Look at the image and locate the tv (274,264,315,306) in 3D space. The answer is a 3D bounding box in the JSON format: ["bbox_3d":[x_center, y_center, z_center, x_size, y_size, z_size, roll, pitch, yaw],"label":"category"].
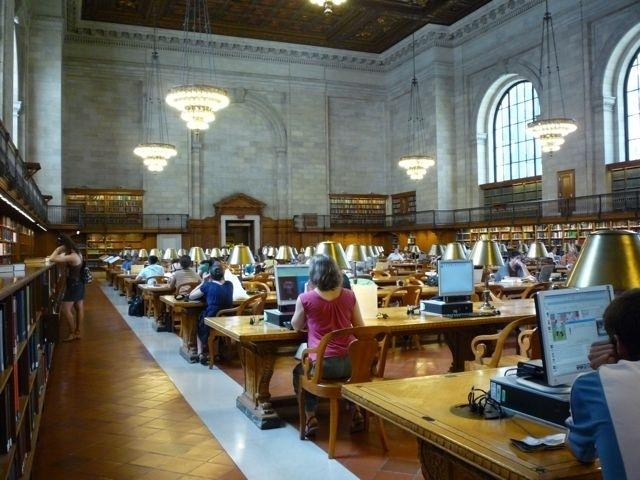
[{"bbox_3d":[-0.212,0.381,4.278,0.356,0.282,0.050,2,-9,-38],"label":"tv"}]

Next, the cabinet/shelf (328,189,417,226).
[{"bbox_3d":[2.481,-1.441,24.253,3.886,1.535,1.774,-1,0,7],"label":"cabinet/shelf"}]

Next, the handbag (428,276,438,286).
[{"bbox_3d":[1.630,0.588,7.347,0.145,0.085,0.187,0,-1,30],"label":"handbag"}]

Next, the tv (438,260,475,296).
[{"bbox_3d":[1.213,0.346,4.574,0.303,0.288,0.034,0,0,-22],"label":"tv"}]

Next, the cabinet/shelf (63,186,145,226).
[{"bbox_3d":[-8.623,-1.319,20.713,2.805,1.326,0.469,-1,1,-18],"label":"cabinet/shelf"}]

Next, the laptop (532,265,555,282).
[{"bbox_3d":[3.685,0.561,8.411,0.323,0.239,0.242,1,7,-27],"label":"laptop"}]

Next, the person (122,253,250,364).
[{"bbox_3d":[-1.771,1.135,7.651,1.081,1.284,1.695,-3,-4,45],"label":"person"}]
